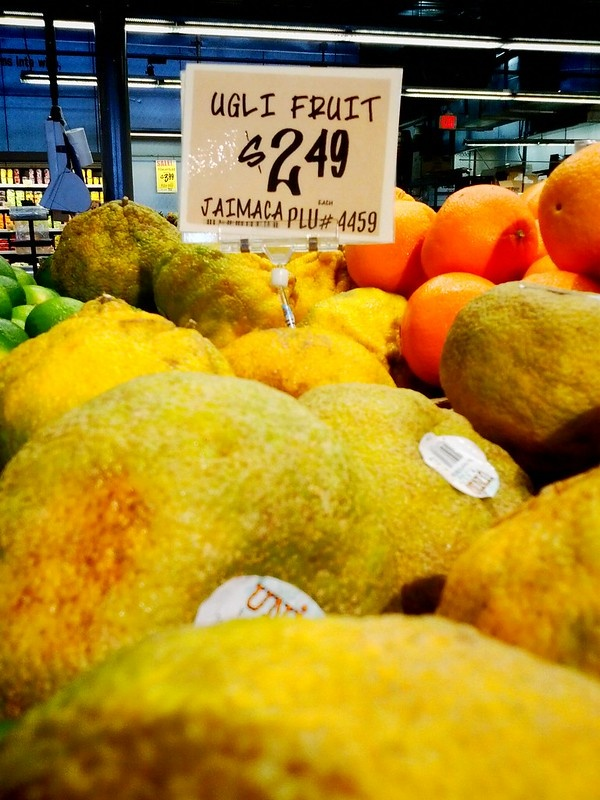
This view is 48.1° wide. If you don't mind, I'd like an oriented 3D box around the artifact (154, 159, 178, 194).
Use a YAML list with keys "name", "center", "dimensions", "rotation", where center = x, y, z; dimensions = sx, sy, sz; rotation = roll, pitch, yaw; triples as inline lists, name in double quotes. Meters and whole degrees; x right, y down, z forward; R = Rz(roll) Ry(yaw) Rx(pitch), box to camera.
- name: "artifact"
  center: [-2.347, -3.911, 11.802]
  dimensions: [0.314, 0.498, 0.720]
  rotation: [-4, 21, -15]
